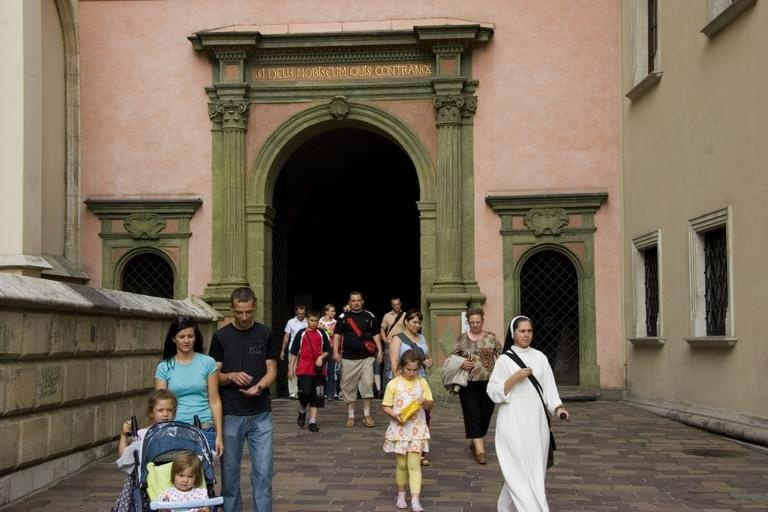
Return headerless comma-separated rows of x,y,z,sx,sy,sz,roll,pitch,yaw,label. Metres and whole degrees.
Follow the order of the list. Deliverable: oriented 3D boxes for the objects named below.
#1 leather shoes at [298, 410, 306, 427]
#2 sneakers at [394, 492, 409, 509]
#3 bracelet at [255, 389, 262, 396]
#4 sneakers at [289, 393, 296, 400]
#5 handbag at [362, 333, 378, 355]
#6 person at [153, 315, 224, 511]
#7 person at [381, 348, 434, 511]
-1.540,2.879,15.904,0.119,0.138,0.345,5,27,-13,leather shoes
0.202,3.210,11.689,0.162,0.216,0.362,1,-5,0,sneakers
-1.603,1.674,10.858,0.070,0.067,0.069,3,3,12,bracelet
-2.093,3.047,19.299,0.127,0.123,0.137,7,23,6,sneakers
-0.307,1.637,16.406,0.191,0.295,0.336,-34,32,-15,handbag
-2.392,2.073,10.622,0.805,2.581,0.777,-3,4,-14,person
0.277,2.285,11.699,0.632,2.062,0.501,1,-5,2,person
